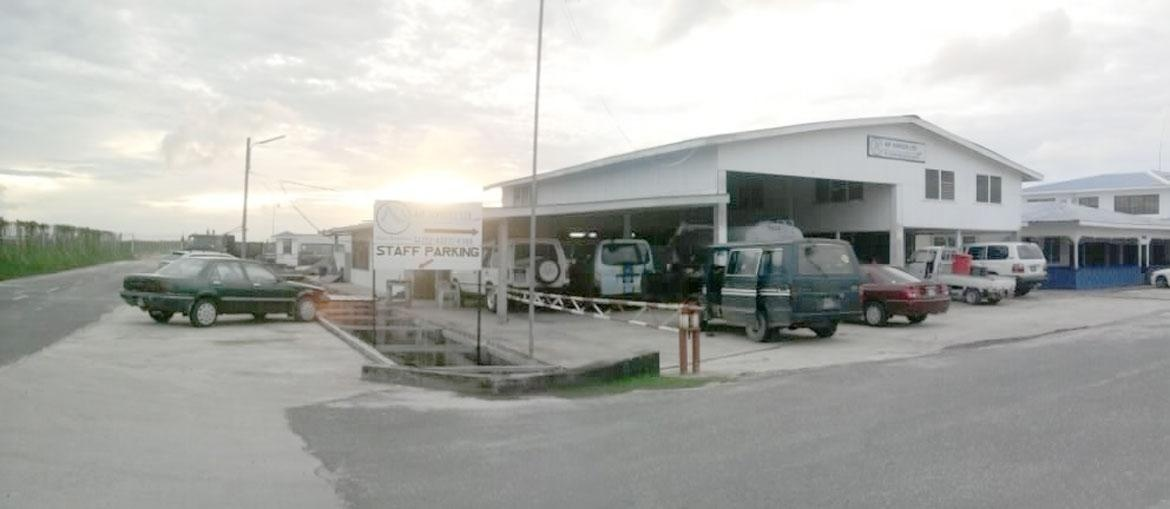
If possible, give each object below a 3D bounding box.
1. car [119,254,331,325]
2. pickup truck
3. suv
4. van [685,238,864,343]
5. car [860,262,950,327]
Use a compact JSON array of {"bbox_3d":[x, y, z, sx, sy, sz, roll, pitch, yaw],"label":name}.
[{"bbox_3d":[-14.730,1.298,30.301,3.222,1.890,6.805,18,9,41],"label":"car"},{"bbox_3d":[19.640,1.002,36.256,3.378,2.229,5.851,1,7,-43],"label":"pickup truck"},{"bbox_3d":[-4.037,0.811,35.087,4.243,2.851,7.075,-5,3,-37],"label":"suv"},{"bbox_3d":[7.468,1.242,28.719,3.993,2.619,5.967,-1,0,-25],"label":"van"},{"bbox_3d":[12.825,1.694,29.407,2.966,2.372,0.886,1,0,4],"label":"car"}]
